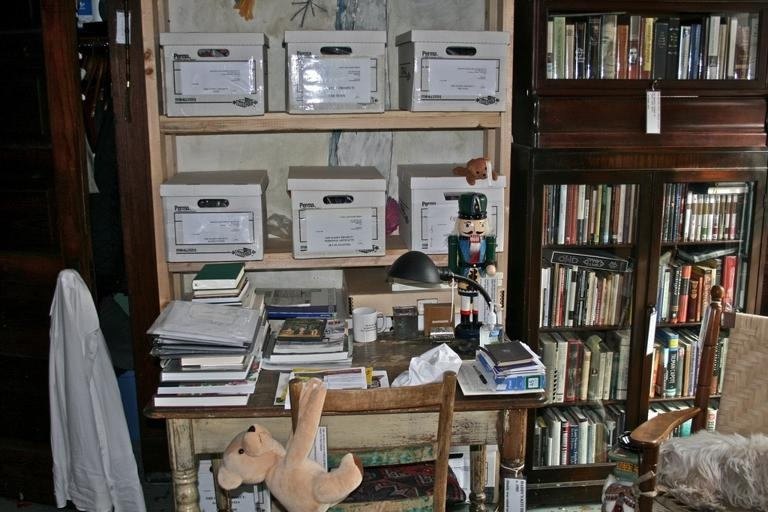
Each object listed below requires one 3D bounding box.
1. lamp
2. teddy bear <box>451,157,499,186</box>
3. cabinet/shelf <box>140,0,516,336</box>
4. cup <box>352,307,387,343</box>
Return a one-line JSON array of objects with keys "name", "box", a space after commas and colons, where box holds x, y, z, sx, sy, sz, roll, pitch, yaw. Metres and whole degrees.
[{"name": "lamp", "box": [0.295, 0.168, 2.921, 0.520, 0.327, 0.226, 8, 1, -14]}, {"name": "teddy bear", "box": [0.399, -0.406, 3.122, 0.148, 0.076, 0.143, -6, 14, -32]}, {"name": "cabinet/shelf", "box": [-0.262, -0.419, 3.099, 1.583, 1.462, 0.467, -2, 18, -6]}, {"name": "cup", "box": [-0.063, 0.305, 3.059, 0.160, 0.124, 0.104, 0, 11, 2]}]
